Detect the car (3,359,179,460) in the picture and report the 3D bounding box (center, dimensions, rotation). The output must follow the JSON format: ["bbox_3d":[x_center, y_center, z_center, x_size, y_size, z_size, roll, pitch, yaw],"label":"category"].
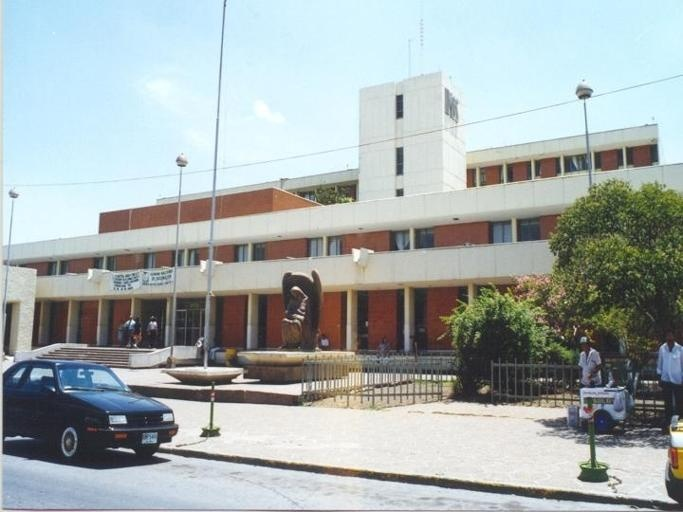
[{"bbox_3d":[-5.540,3.248,14.674,3.397,1.546,1.952,-6,-11,36],"label":"car"}]

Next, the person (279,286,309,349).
[{"bbox_3d":[-1.843,2.522,28.145,0.991,2.505,1.212,0,-1,2],"label":"person"}]

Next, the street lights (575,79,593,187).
[{"bbox_3d":[9.374,-4.517,26.321,0.643,4.204,0.654,-16,14,-30],"label":"street lights"}]

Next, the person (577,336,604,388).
[{"bbox_3d":[6.495,2.810,18.059,0.531,1.459,1.930,0,-2,20],"label":"person"}]
